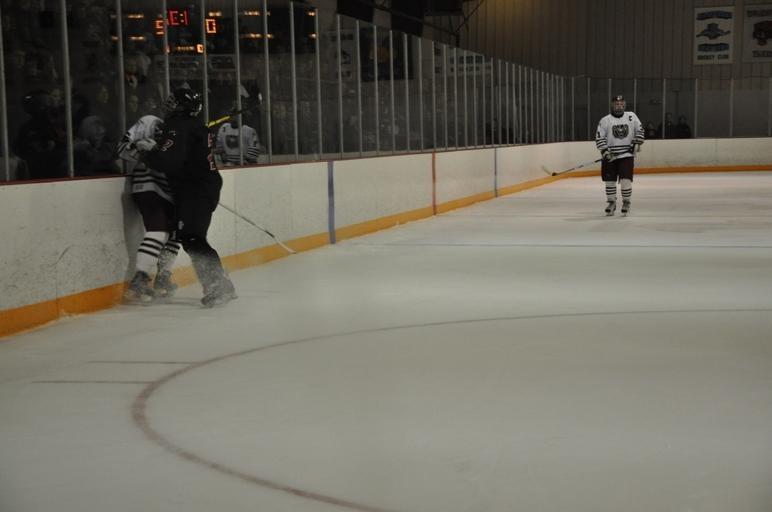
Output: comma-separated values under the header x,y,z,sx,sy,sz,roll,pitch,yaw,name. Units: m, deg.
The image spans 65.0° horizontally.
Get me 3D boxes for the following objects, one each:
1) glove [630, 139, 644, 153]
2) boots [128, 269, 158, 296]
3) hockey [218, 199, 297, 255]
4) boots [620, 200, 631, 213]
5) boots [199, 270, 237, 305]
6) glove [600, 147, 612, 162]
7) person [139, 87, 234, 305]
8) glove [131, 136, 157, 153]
x,y,z,sx,sy,sz,roll,pitch,yaw,name
5.791,-2.482,13.843,0.226,0.293,0.523,3,9,26,glove
-2.649,0.293,6.526,0.217,0.292,0.111,-1,-3,-19,boots
-1.927,-0.428,8.828,1.464,0.106,0.158,38,-4,-34,hockey
5.501,-1.093,13.784,0.154,0.337,0.271,1,9,16,boots
-1.804,0.350,6.496,0.376,0.353,0.266,-6,10,-32,boots
5.161,-2.345,14.058,0.259,0.276,0.201,0,-5,21,glove
-2.077,-0.653,6.559,0.908,2.315,0.522,4,10,30,person
-2.605,-1.192,6.527,0.257,0.137,0.084,1,8,14,glove
